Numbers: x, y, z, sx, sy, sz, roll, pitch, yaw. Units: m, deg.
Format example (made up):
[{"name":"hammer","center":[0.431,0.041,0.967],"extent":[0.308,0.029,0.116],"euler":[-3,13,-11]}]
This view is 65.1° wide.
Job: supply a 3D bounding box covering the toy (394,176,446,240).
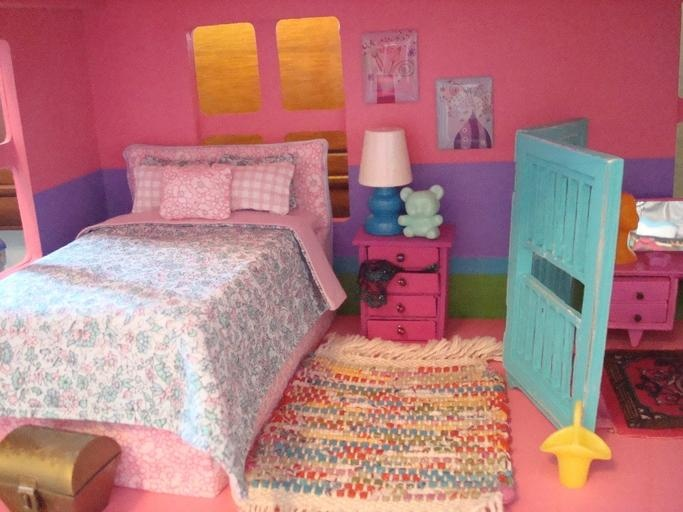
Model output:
[{"name":"toy","center":[0.580,-0.328,4.024],"extent":[0.327,0.364,0.209],"euler":[1,18,11]}]
